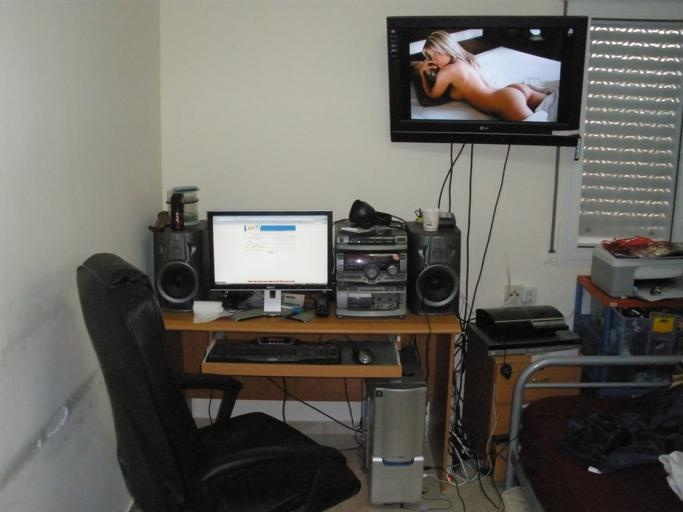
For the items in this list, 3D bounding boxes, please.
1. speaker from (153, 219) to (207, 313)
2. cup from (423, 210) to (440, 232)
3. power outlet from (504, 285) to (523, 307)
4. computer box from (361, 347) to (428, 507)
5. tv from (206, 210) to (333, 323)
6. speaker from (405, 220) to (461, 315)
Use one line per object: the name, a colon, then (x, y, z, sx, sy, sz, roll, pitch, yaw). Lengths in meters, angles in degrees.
speaker: (-0.839, 0.068, 3.116, 0.327, 0.589, 0.381, 0, 5, -4)
cup: (0.467, -0.190, 3.211, 0.078, 0.102, 0.110, 0, 4, 2)
power outlet: (0.997, 0.229, 3.539, 0.143, 0.117, 0.070, -12, 19, -28)
computer box: (0.279, 0.903, 3.157, 0.307, 0.665, 0.414, -1, 16, 4)
tv: (-0.375, 0.038, 3.139, 0.540, 0.496, 0.128, 0, 2, 0)
speaker: (0.472, 0.065, 3.117, 0.265, 0.490, 0.431, -1, 7, 1)
